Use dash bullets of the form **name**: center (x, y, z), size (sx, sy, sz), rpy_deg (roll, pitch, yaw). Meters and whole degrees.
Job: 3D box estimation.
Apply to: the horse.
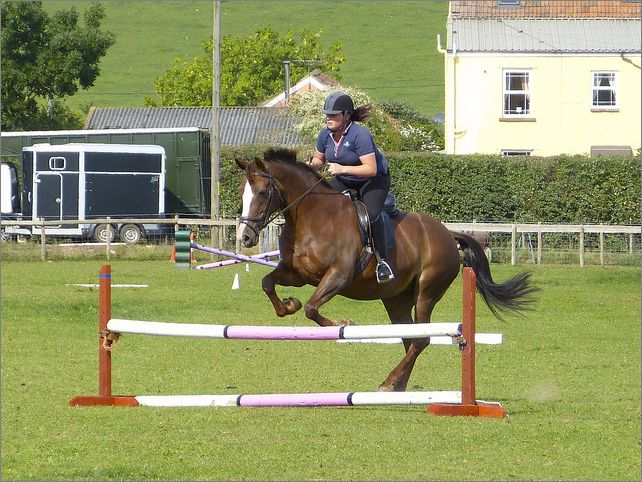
- **horse**: center (2.096, 1.092, 37.327), size (8.830, 6.410, 2.119), rpy_deg (3, -3, -24)
